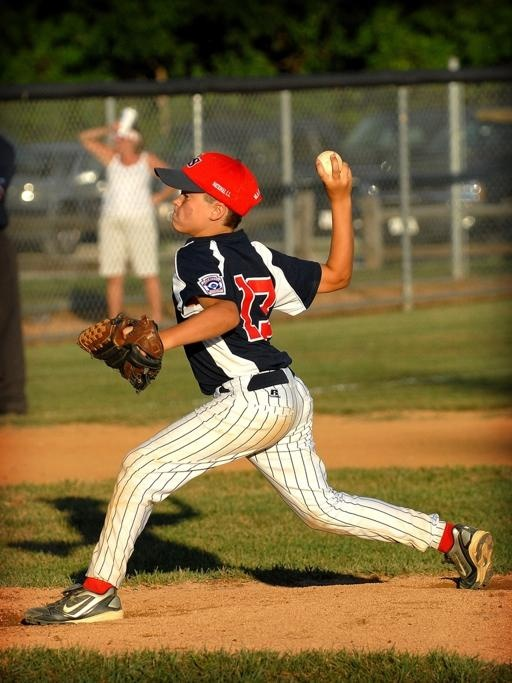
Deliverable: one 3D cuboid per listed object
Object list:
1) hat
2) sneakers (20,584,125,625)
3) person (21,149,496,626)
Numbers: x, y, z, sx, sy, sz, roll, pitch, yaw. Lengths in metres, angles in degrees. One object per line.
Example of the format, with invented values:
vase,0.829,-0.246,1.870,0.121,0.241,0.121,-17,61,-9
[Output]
hat,-0.163,-0.589,3.392,0.357,0.174,0.217,20,16,-11
sneakers,-0.619,0.928,3.346,0.389,0.137,0.132,1,-7,-2
person,-0.044,0.149,3.352,1.481,1.661,0.694,-6,5,-29
